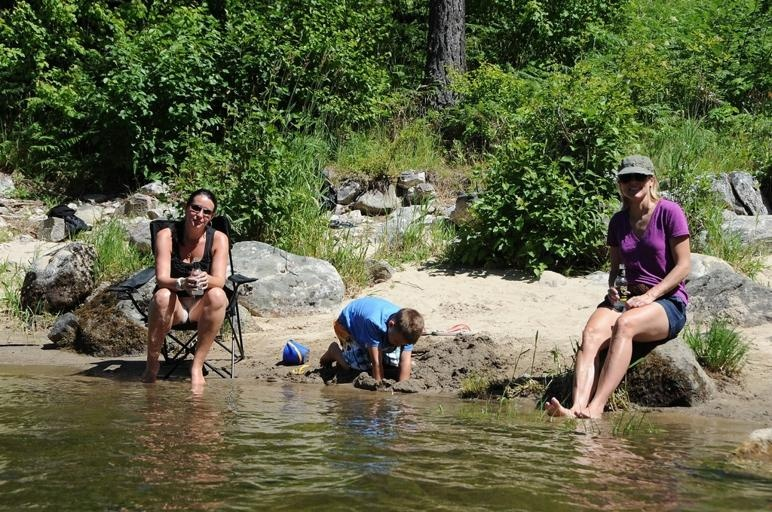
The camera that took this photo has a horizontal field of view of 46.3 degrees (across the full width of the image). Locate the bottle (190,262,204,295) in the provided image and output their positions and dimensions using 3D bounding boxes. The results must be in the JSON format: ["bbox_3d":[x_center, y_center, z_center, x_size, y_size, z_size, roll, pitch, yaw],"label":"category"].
[{"bbox_3d":[-2.580,0.320,12.320,0.161,0.484,0.283,-1,4,-12],"label":"bottle"}]

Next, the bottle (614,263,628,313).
[{"bbox_3d":[3.053,0.339,11.612,0.142,0.522,0.150,-8,24,4],"label":"bottle"}]

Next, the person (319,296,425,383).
[{"bbox_3d":[-0.199,1.177,12.808,0.734,1.214,1.781,-3,8,-39],"label":"person"}]

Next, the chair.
[{"bbox_3d":[-2.787,0.679,12.915,1.945,2.281,1.848,-2,9,16],"label":"chair"}]

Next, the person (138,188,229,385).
[{"bbox_3d":[-2.725,0.420,12.331,1.120,2.622,0.466,-1,4,-13],"label":"person"}]
